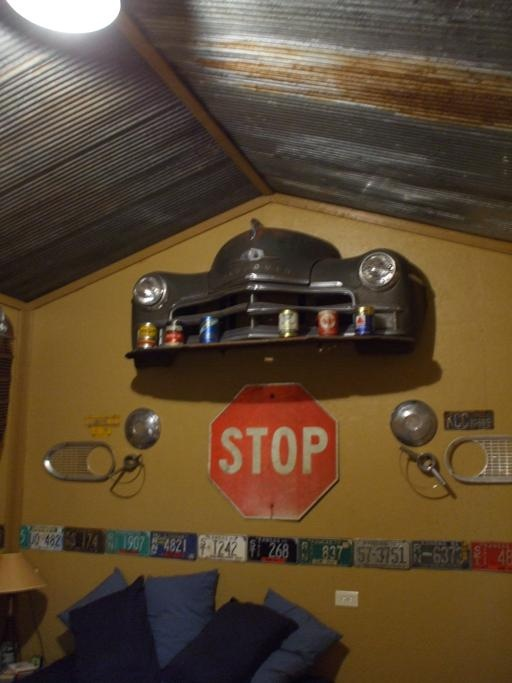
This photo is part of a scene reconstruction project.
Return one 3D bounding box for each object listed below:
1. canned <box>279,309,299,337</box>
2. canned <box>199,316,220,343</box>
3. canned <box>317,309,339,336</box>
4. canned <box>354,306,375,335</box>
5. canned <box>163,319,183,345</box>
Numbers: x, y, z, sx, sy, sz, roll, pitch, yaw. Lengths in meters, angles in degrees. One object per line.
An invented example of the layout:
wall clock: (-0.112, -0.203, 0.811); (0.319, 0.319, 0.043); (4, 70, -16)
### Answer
canned: (0.161, -0.081, 3.078); (0.095, 0.144, 0.075); (2, -13, -4)
canned: (-0.237, -0.053, 3.270); (0.096, 0.149, 0.099); (2, -13, -5)
canned: (0.344, -0.083, 3.054); (0.093, 0.141, 0.070); (0, -13, 5)
canned: (0.503, -0.093, 2.996); (0.085, 0.143, 0.049); (-1, -14, 9)
canned: (-0.432, -0.045, 3.344); (0.107, 0.139, 0.084); (14, -23, -43)
